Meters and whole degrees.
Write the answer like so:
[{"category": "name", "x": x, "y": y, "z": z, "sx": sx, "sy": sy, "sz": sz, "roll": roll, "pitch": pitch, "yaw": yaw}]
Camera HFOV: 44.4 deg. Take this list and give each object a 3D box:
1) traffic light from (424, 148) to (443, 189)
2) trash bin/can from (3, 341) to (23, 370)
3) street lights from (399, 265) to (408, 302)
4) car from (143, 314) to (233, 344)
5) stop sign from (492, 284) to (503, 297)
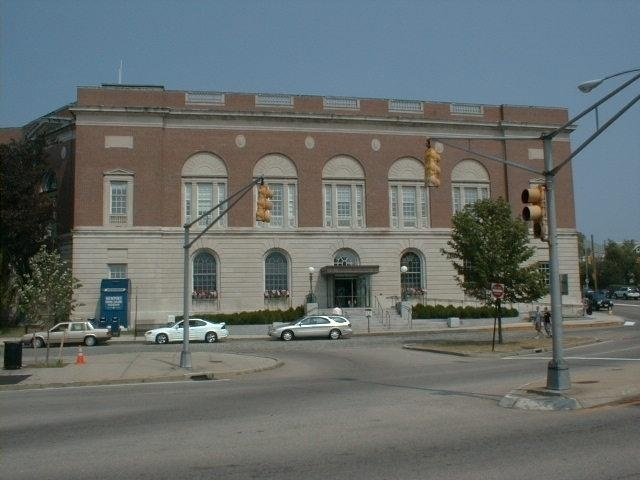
[{"category": "traffic light", "x": 3.930, "y": -2.565, "z": 27.273, "sx": 0.477, "sy": 1.413, "sz": 0.865, "roll": -2, "pitch": -10, "yaw": 5}, {"category": "trash bin/can", "x": -13.288, "y": 4.985, "z": 33.802, "sx": 0.694, "sy": 1.202, "sz": 0.399, "roll": 2, "pitch": -10, "yaw": -19}, {"category": "street lights", "x": 6.512, "y": 3.296, "z": 60.517, "sx": 0.528, "sy": 2.845, "sz": 0.880, "roll": -5, "pitch": -10, "yaw": 20}, {"category": "car", "x": -7.892, "y": 5.141, "z": 47.270, "sx": 4.593, "sy": 1.554, "sz": 2.028, "roll": 3, "pitch": -8, "yaw": -10}, {"category": "stop sign", "x": 8.772, "y": 2.466, "z": 38.467, "sx": 0.528, "sy": 0.637, "sz": 0.540, "roll": -4, "pitch": -10, "yaw": 12}]
